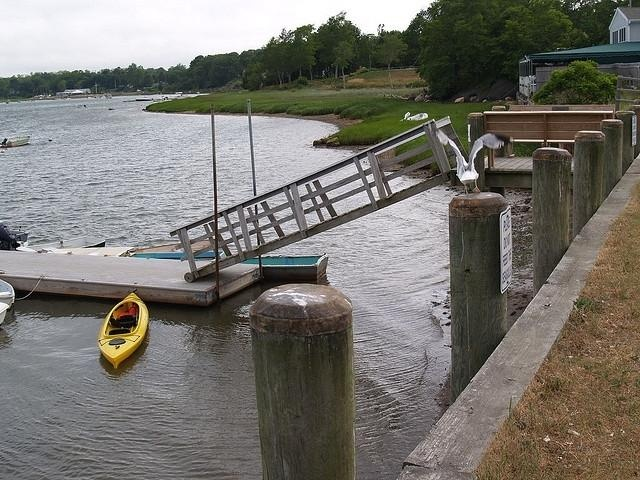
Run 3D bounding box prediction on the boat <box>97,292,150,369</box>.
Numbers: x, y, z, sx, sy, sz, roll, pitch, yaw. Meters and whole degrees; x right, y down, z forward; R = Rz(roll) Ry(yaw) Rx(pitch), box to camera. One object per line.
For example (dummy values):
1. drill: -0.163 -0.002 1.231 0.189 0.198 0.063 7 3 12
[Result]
1. boat: -4.507 2.040 18.199 1.060 0.458 2.758 -4 27 -2
